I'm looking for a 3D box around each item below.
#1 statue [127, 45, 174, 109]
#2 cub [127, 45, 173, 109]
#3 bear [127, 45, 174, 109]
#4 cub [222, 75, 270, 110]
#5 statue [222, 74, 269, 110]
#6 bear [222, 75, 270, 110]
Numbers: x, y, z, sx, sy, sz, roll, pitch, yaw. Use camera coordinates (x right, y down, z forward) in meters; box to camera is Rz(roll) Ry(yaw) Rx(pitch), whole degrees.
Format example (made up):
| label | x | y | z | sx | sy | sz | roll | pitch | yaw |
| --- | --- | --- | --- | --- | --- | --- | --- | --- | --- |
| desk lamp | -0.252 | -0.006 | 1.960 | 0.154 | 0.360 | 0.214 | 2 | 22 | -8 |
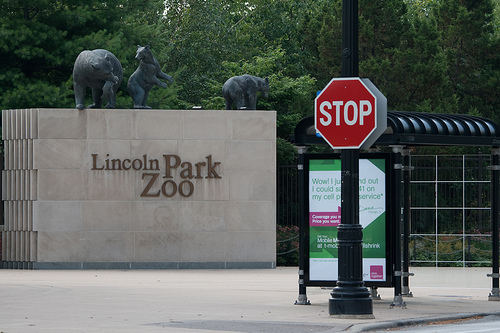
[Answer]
| label | x | y | z | sx | sy | sz | roll | pitch | yaw |
| --- | --- | --- | --- | --- | --- | --- | --- | --- | --- |
| statue | -3.550 | -3.192 | 46.757 | 1.693 | 2.270 | 1.095 | 3 | 1 | 2 |
| cub | -3.514 | -3.177 | 46.790 | 1.732 | 2.228 | 1.062 | 3 | 3 | -4 |
| bear | -3.526 | -3.213 | 46.872 | 1.762 | 2.302 | 1.029 | 2 | 2 | -13 |
| cub | -0.161 | -2.692 | 47.648 | 1.452 | 1.390 | 1.986 | -1 | -3 | 7 |
| statue | -0.255 | -2.780 | 47.797 | 1.150 | 1.678 | 2.283 | 5 | -12 | -26 |
| bear | -0.089 | -2.703 | 47.918 | 0.721 | 1.340 | 2.162 | 2 | 6 | 44 |
